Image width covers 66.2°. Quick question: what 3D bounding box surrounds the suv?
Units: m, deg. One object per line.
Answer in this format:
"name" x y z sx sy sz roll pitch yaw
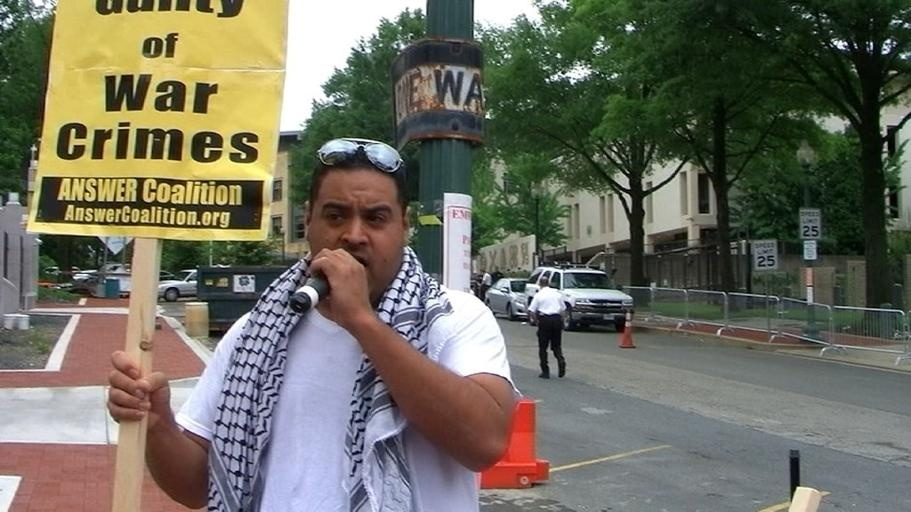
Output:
"suv" 4.649 1.563 26.923 2.438 1.814 4.331 1 -4 -20

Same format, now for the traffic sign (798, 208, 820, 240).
"traffic sign" 11.058 -0.999 21.705 0.620 1.061 0.661 2 1 26

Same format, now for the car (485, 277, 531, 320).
"car" 2.623 1.898 30.737 1.895 1.280 3.199 1 -5 -23
